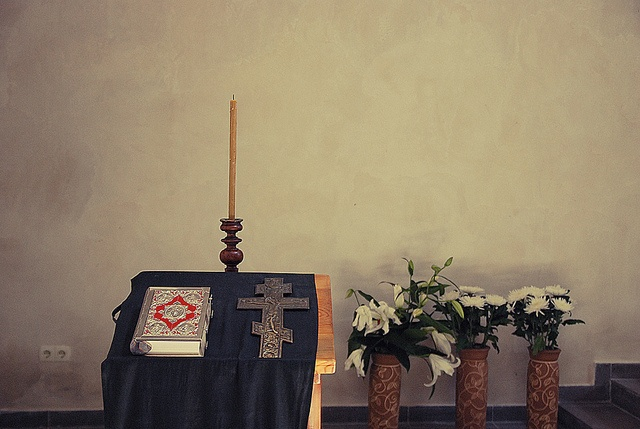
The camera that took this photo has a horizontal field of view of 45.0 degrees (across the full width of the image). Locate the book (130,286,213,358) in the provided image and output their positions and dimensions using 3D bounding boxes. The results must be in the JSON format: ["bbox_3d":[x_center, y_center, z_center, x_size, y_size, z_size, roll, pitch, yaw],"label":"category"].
[{"bbox_3d":[-0.975,0.698,5.081,0.397,0.436,0.130,-1,-39,3],"label":"book"}]

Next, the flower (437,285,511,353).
[{"bbox_3d":[1.175,0.780,5.953,0.500,0.561,0.524,-2,-2,4],"label":"flower"}]

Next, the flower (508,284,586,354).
[{"bbox_3d":[1.749,0.844,6.068,0.552,0.528,0.575,0,-14,9],"label":"flower"}]
